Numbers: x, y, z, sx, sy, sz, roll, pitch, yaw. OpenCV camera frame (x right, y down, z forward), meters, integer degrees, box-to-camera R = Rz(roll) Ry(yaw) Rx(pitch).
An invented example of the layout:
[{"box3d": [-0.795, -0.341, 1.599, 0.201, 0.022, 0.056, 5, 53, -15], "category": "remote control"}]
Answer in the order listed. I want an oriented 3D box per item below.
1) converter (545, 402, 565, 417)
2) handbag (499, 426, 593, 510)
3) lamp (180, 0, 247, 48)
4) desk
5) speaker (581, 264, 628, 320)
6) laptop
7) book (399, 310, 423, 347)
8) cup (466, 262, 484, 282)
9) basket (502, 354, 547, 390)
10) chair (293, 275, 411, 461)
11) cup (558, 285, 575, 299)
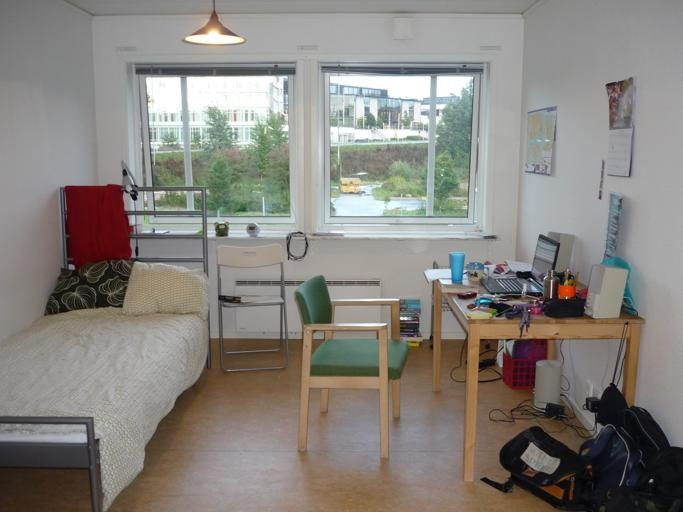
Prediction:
[{"box3d": [1.477, 1.084, 3.882, 0.134, 0.099, 0.084, 3, 12, 12], "category": "converter"}, {"box3d": [1.160, 1.211, 3.191, 0.326, 0.150, 0.362, -21, 30, -33], "category": "handbag"}, {"box3d": [-0.845, -1.483, 3.592, 0.339, 0.208, 0.321, -5, 11, -29], "category": "lamp"}, {"box3d": [1.211, 0.861, 3.734, 1.003, 0.898, 1.695, -2, 12, -3], "category": "desk"}, {"box3d": [1.571, 0.205, 3.276, 0.262, 0.301, 0.133, -1, 10, -5], "category": "speaker"}, {"box3d": [1.260, 0.105, 3.914, 0.396, 0.347, 0.555, -4, 7, 8], "category": "laptop"}, {"box3d": [0.635, 0.675, 5.208, 0.247, 0.346, 0.110, 2, 4, 1], "category": "book"}, {"box3d": [0.976, 0.115, 4.088, 0.126, 0.136, 0.132, -2, 7, 0], "category": "cup"}, {"box3d": [1.404, 0.905, 4.297, 0.246, 0.247, 0.251, -1, 4, -5], "category": "basket"}, {"box3d": [0.114, 0.681, 4.141, 0.973, 1.435, 1.107, 0, 8, 8], "category": "chair"}, {"box3d": [1.320, 0.214, 3.286, 0.088, 0.088, 0.088, 0, 3, 0], "category": "cup"}]
